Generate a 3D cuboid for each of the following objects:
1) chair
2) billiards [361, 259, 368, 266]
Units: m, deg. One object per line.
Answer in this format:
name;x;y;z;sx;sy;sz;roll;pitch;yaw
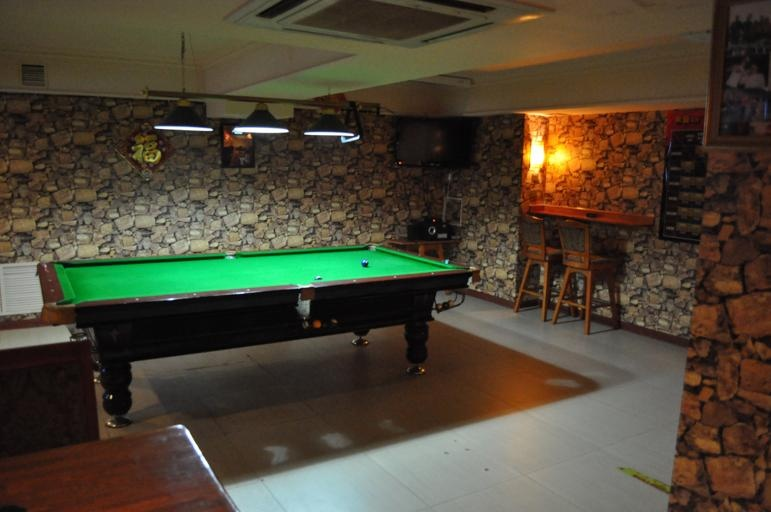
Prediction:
chair;2.583;0.230;7.299;0.762;1.511;1.523;-10;15;-29
billiards;-0.245;0.067;5.539;0.083;0.061;0.041;-1;54;12
